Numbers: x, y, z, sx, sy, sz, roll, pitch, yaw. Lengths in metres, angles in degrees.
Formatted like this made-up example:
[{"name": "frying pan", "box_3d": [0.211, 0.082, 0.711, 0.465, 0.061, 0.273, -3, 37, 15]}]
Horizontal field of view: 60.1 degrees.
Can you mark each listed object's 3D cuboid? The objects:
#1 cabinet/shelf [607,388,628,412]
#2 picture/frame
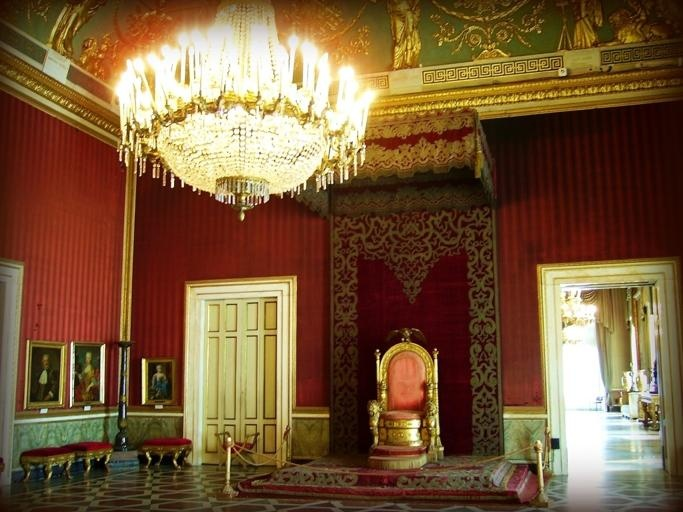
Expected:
[{"name": "cabinet/shelf", "box_3d": [9.840, 5.142, 20.985, 0.474, 0.829, 2.545, -5, -12, 17]}, {"name": "picture/frame", "box_3d": [-4.481, 1.926, 9.679, 0.102, 1.058, 1.570, -7, -12, 24]}]
